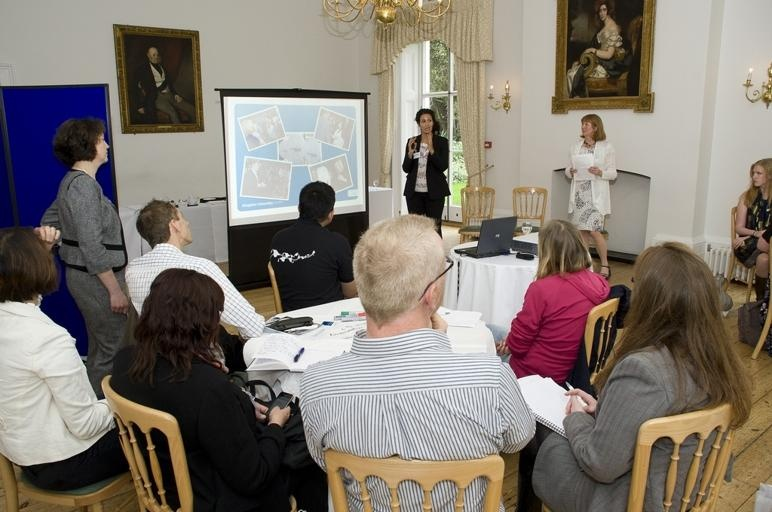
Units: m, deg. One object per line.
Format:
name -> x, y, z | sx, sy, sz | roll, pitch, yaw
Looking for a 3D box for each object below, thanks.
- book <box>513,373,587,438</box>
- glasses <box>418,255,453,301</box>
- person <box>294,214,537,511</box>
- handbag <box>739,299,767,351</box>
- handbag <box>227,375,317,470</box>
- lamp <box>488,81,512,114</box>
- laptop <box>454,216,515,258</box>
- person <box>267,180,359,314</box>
book -> 0.803, 0.726, 2.804 | 0.257, 0.103, 0.360 | 3, 25, -24
glasses -> 0.222, 0.088, 2.239 | 0.041, 0.167, 0.151 | 24, -8, -16
person -> 0.108, 0.351, 2.174 | 0.896, 0.976, 0.338 | -6, 11, -12
handbag -> 3.247, 0.599, 5.004 | 0.238, 0.352, 0.125 | 4, -5, 18
handbag -> -0.585, 0.842, 2.900 | 0.182, 0.493, 0.348 | -33, -10, 38
lamp -> 1.684, -2.346, 8.432 | 0.145, 0.443, 0.472 | -10, 13, -32
laptop -> 0.896, -0.164, 4.923 | 0.406, 0.346, 0.340 | -7, 14, -44
person -> -0.517, 0.005, 4.191 | 0.540, 1.196, 0.615 | 16, 40, 16
